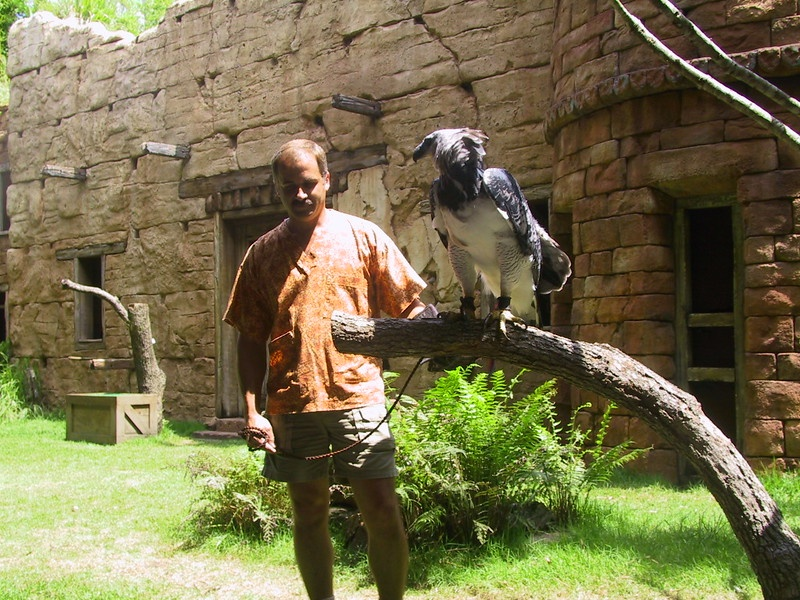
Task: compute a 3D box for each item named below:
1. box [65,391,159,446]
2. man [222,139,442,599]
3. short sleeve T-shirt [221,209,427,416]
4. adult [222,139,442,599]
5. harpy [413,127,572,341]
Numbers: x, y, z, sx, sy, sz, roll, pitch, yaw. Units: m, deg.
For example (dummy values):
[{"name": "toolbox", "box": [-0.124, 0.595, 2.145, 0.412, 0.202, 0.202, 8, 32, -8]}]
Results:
[{"name": "box", "box": [-3.952, 1.677, 11.579, 0.966, 0.625, 0.965, -2, -6, 28]}, {"name": "man", "box": [-0.428, 0.417, 4.941, 1.158, 2.765, 0.588, -4, 4, 0]}, {"name": "short sleeve T-shirt", "box": [-0.469, 0.043, 5.099, 1.284, 1.242, 0.533, -5, -6, 10]}, {"name": "adult", "box": [-0.428, 0.417, 4.941, 1.159, 2.765, 0.588, -4, 4, 0]}, {"name": "harpy", "box": [0.678, -0.435, 5.729, 0.779, 1.294, 1.444, -5, -11, 32]}]
